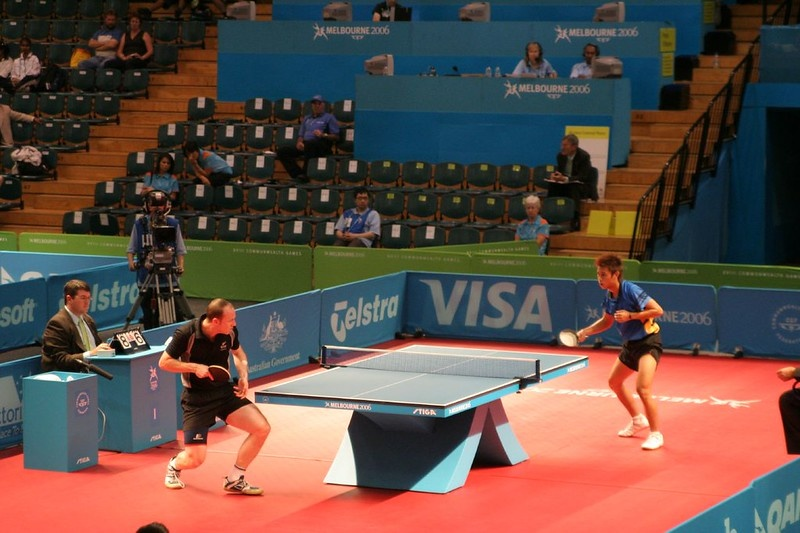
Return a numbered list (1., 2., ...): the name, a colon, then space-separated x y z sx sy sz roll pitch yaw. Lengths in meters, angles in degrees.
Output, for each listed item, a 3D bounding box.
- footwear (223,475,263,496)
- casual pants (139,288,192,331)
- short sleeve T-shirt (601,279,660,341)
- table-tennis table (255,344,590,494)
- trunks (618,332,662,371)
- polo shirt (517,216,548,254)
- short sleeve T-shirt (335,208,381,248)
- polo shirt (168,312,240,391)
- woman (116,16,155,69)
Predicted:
1. footwear: -1.467 2.028 7.430 0.429 0.195 0.155 3 2 -5
2. casual pants: -3.382 0.587 11.557 0.670 0.832 0.552 -3 6 -4
3. short sleeve T-shirt: 2.398 0.485 8.455 0.343 0.598 0.599 -14 -1 -40
4. table-tennis table: 0.332 1.420 7.789 1.802 0.851 2.169 1 1 27
5. trunks: 2.542 0.891 8.455 0.398 0.381 0.230 -22 5 25
6. polo shirt: 2.319 -0.544 13.953 0.697 0.813 0.457 0 1 28
7. short sleeve T-shirt: -0.721 -0.708 14.764 0.773 0.688 0.745 1 -2 18
8. polo shirt: -1.815 0.813 7.429 0.745 0.703 0.363 -2 8 -35
9. woman: -6.671 -5.531 19.762 0.888 1.263 1.037 13 26 20
